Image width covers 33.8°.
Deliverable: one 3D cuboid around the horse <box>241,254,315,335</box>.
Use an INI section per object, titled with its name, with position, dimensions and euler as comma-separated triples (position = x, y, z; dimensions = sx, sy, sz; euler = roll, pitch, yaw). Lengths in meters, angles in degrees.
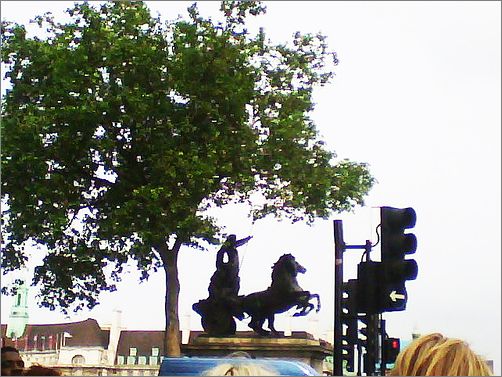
[horse]
position = 0.723, 2.909, 23.289
dimensions = 1.974, 2.125, 0.535
euler = -9, -17, 30
